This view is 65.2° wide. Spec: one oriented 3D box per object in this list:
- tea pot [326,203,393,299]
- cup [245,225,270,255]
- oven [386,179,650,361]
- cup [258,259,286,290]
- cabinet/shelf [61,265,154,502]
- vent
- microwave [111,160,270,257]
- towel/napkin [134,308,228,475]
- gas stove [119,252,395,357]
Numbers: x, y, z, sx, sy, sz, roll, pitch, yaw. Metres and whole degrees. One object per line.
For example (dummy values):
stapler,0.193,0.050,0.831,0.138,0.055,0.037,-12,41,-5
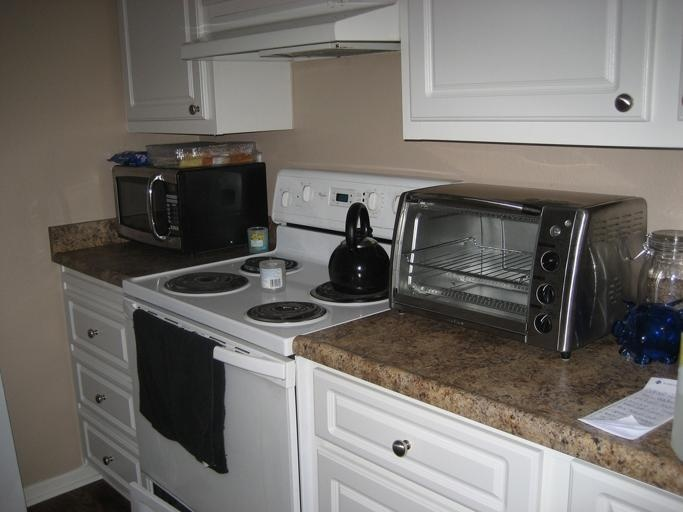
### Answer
tea pot,0.049,-0.002,1.739,0.196,0.310,0.178,2,18,-1
cup,-0.365,-0.067,2.310,0.096,0.108,0.100,0,5,0
oven,0.529,-0.070,1.532,0.517,0.444,0.618,-13,20,-43
cup,-0.241,0.065,1.889,0.093,0.105,0.095,0,5,0
cabinet/shelf,-0.900,0.433,2.401,0.497,1.088,0.463,-11,17,-38
vent,-0.177,-0.720,1.777,0.763,0.140,0.262,7,16,36
microwave,-0.686,-0.227,2.517,0.513,0.431,0.594,-10,18,-39
towel/napkin,-0.517,0.426,1.740,0.072,0.471,0.532,-14,23,-41
gas stove,-0.152,0.002,1.976,0.881,0.208,1.015,-13,21,-38
